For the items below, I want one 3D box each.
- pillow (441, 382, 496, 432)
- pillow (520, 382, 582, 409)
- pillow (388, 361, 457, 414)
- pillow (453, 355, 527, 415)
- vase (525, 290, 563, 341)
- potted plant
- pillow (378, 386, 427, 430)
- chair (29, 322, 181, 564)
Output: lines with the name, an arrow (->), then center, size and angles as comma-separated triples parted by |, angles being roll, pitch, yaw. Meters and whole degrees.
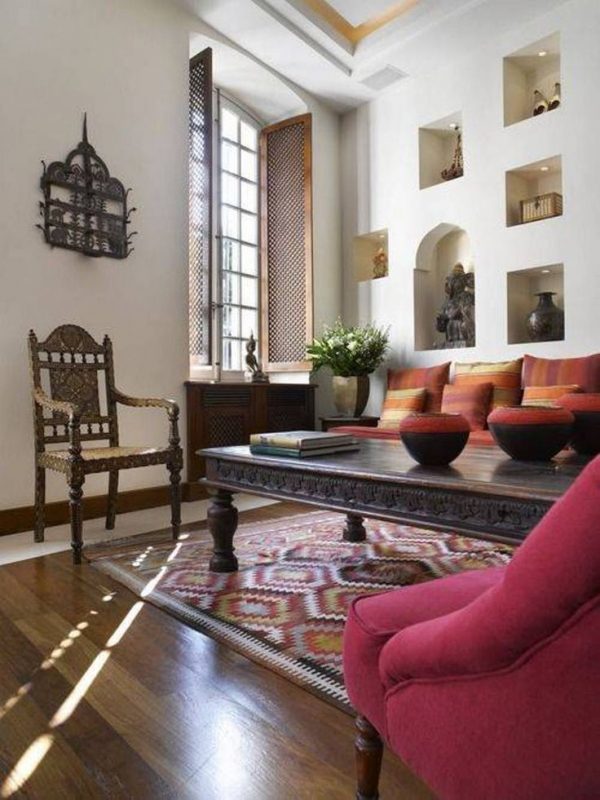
pillow -> 1.072, 0.043, 3.864 | 0.350, 0.307, 0.359 | -1, 1, 34
pillow -> 1.446, -0.030, 3.396 | 0.205, 0.110, 0.416 | -2, 1, -22
pillow -> 0.913, -0.081, 4.287 | 0.378, 0.367, 0.139 | -2, -23, 37
pillow -> 1.232, -0.089, 3.743 | 0.374, 0.378, 0.139 | -5, -27, 45
vase -> 1.706, -0.579, 4.013 | 0.238, 0.348, 0.239 | 1, 1, 31
potted plant -> 0.285, -0.251, 4.878 | 0.740, 0.844, 0.767 | 0, -4, -3
pillow -> 0.665, 0.044, 3.753 | 0.148, 0.258, 0.285 | 6, -8, -39
chair -> -0.992, 0.178, 2.856 | 0.659, 1.090, 0.696 | 1, 2, 17
